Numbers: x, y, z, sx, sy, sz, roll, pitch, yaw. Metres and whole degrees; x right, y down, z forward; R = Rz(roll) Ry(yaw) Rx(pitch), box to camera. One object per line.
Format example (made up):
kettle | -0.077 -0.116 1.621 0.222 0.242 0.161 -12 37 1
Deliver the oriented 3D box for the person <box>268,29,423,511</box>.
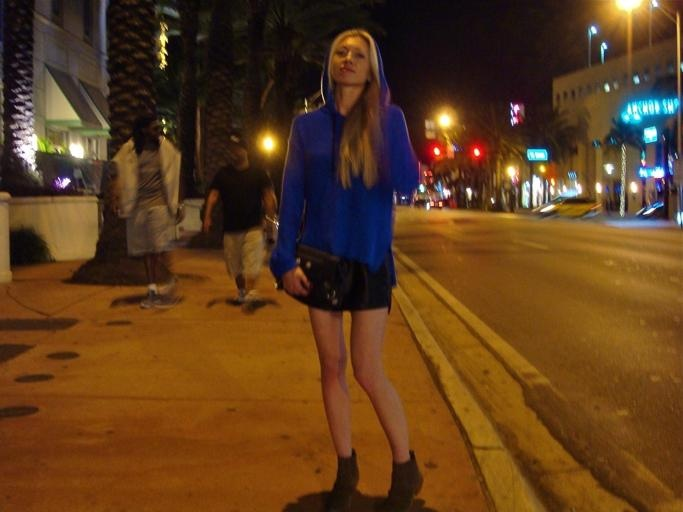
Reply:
person | 0.038 0.099 2.862 0.799 2.510 0.317 0 5 -11

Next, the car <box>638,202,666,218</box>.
car | 24.952 -3.565 44.171 2.030 1.112 3.421 7 9 41

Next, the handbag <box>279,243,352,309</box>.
handbag | -0.100 0.124 2.777 0.313 0.325 0.112 4 6 28

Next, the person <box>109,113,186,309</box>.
person | -2.716 -0.566 7.798 0.924 2.679 0.578 -2 5 -29

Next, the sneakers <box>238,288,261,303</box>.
sneakers | -1.426 0.630 8.365 0.243 0.198 0.175 -3 9 0

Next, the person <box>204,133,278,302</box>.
person | -1.504 -0.518 8.210 1.033 2.501 0.595 0 5 -6
